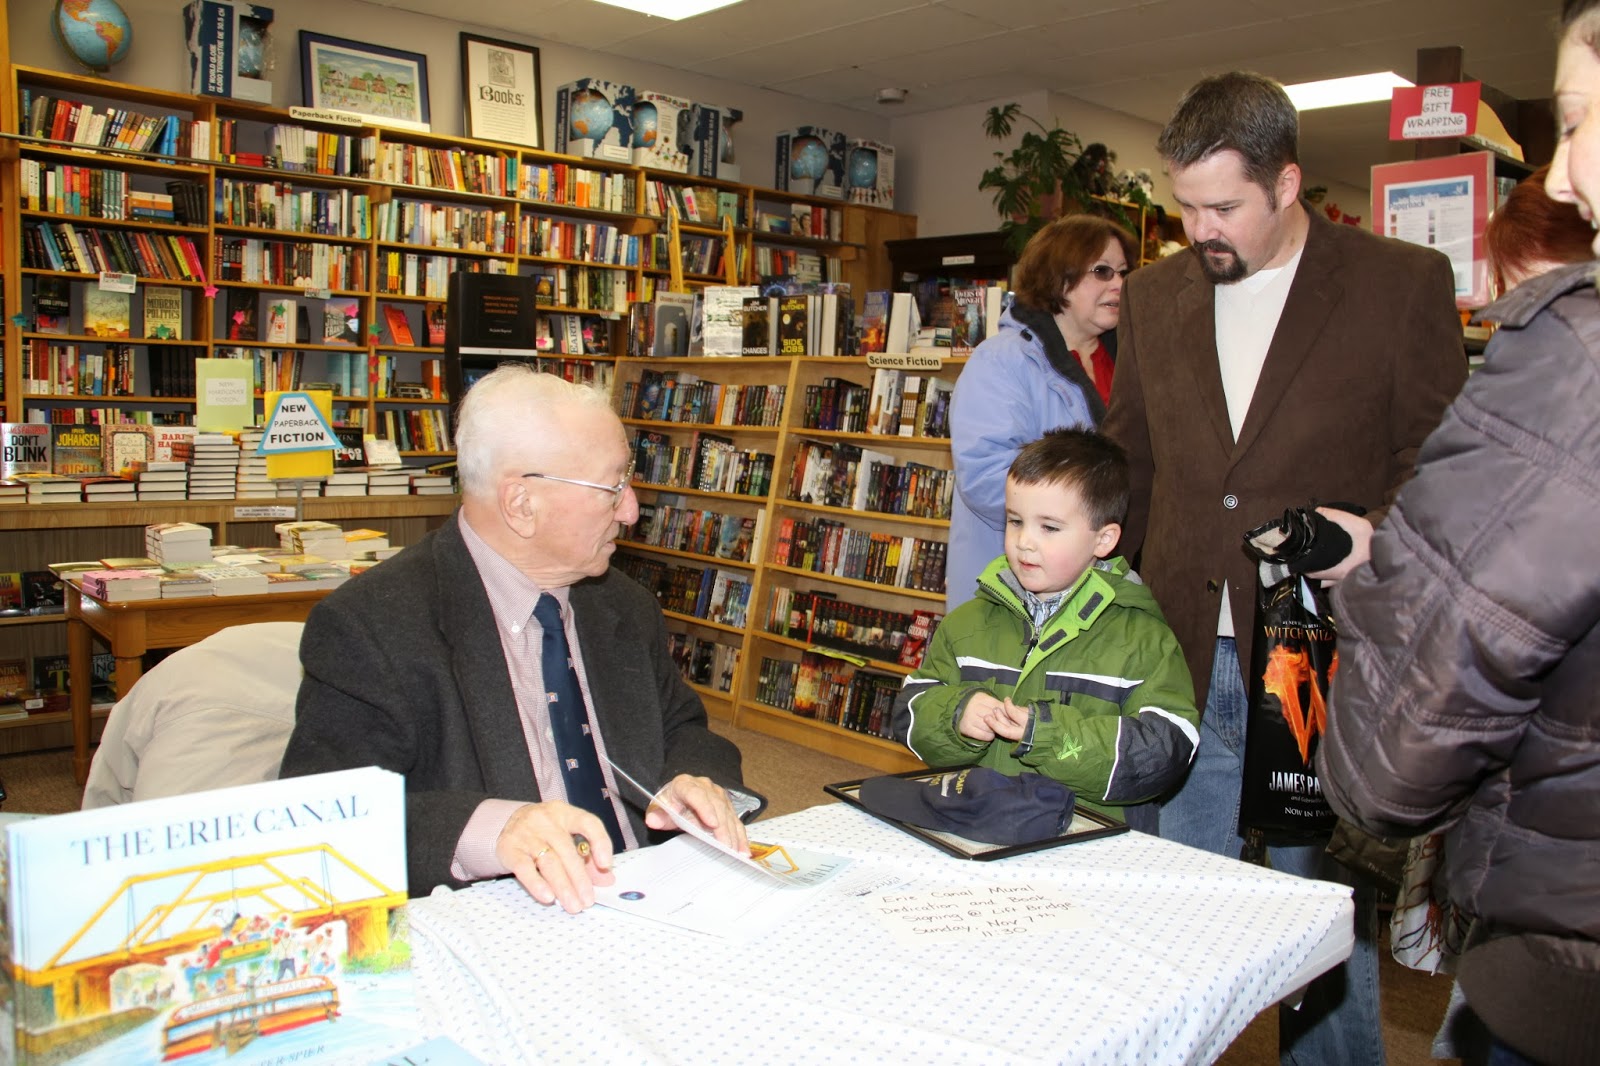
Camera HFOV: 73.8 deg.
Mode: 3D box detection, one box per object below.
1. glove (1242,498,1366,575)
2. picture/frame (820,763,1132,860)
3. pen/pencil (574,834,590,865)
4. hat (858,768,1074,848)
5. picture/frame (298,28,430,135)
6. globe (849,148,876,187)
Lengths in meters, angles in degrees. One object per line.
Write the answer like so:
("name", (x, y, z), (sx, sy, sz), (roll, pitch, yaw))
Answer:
("glove", (0.949, 0.018, 2.026), (0.177, 0.135, 0.079), (1, 16, 12))
("picture/frame", (0.338, 0.488, 1.860), (0.224, 0.044, 0.232), (0, 7, -36))
("pen/pencil", (-0.352, 0.509, 1.726), (0.016, 0.028, 0.039), (-6, 23, -18))
("hat", (0.288, 0.473, 1.860), (0.260, 0.049, 0.152), (5, 21, 18))
("picture/frame", (-2.863, -2.916, 6.917), (1.031, 0.680, 0.036), (-1, -6, -36))
("globe", (0.515, -3.178, 9.230), (0.303, 0.376, 0.213), (4, 15, -1))
